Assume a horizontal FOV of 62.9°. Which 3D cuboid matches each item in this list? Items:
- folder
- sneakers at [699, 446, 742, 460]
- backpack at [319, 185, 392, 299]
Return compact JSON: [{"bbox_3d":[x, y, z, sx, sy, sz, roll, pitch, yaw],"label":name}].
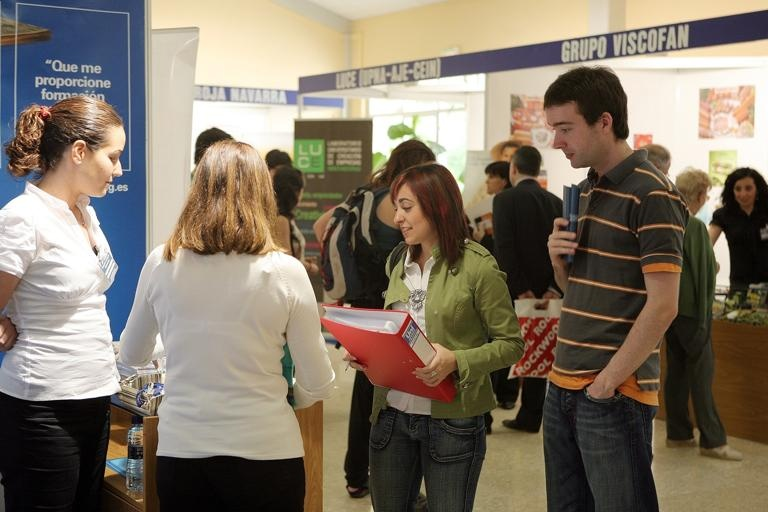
[{"bbox_3d":[0.015,0.400,2.510,0.533,0.423,0.317,0,8,7],"label":"folder"},{"bbox_3d":[2.646,1.534,4.957,0.289,0.125,0.107,-3,-2,19],"label":"sneakers"},{"bbox_3d":[-0.167,-0.048,3.681,0.616,0.634,0.484,3,-1,-15],"label":"backpack"}]
